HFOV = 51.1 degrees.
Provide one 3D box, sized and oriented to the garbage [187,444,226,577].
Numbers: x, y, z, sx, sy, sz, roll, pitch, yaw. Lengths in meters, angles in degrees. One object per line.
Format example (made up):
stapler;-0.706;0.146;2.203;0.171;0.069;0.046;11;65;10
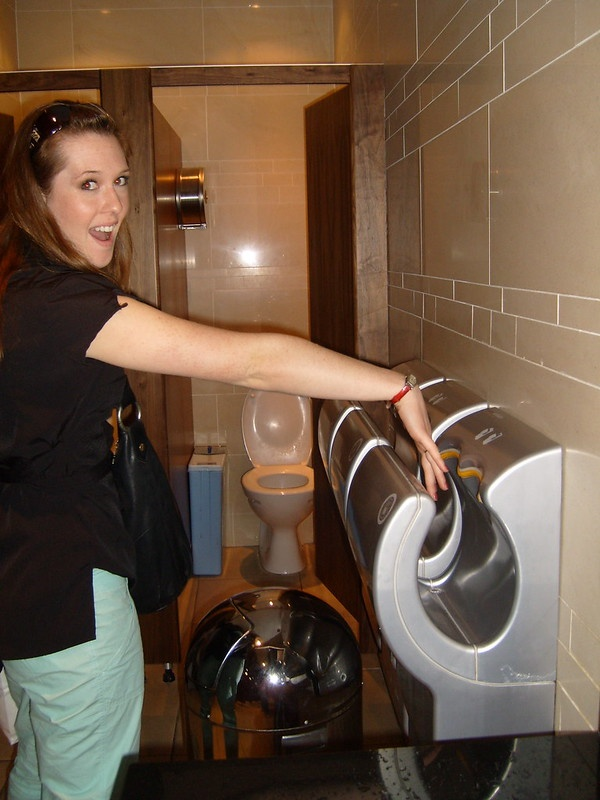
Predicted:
garbage;-0.433;0.508;2.862;0.201;0.620;0.539;0;10;-4

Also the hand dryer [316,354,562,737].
hand dryer;0.199;0.219;1.033;0.218;0.412;0.618;-2;9;0
